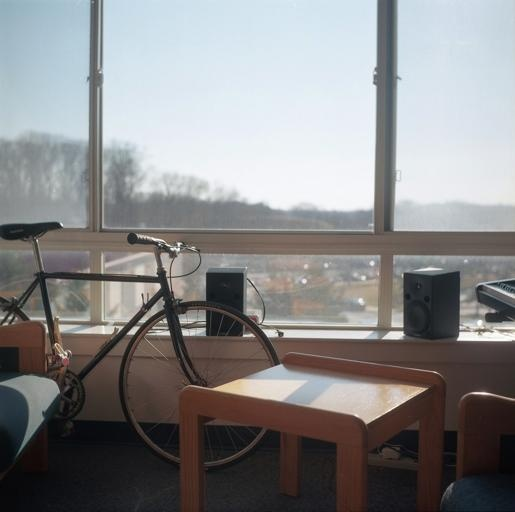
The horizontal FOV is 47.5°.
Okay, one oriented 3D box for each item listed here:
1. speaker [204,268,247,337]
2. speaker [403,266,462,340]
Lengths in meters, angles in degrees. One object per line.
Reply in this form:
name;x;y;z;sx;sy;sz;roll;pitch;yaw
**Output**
speaker;-0.153;0.222;2.864;0.203;0.335;0.209;0;0;-16
speaker;0.818;0.223;2.801;0.194;0.320;0.178;-8;9;-40
